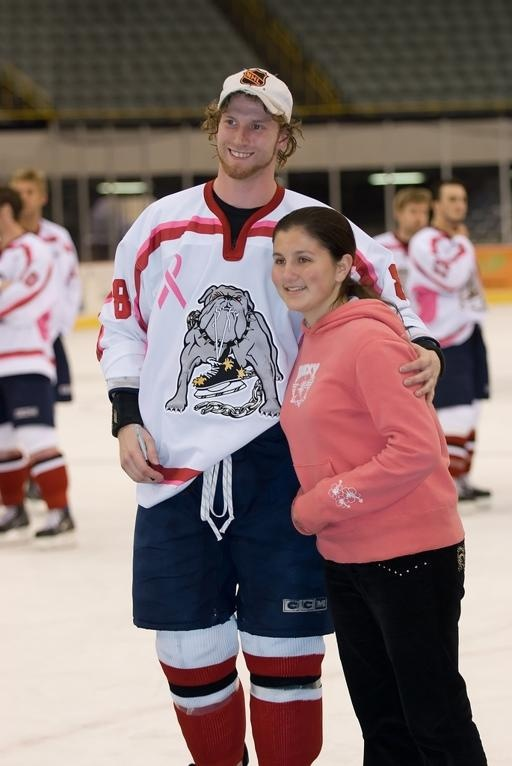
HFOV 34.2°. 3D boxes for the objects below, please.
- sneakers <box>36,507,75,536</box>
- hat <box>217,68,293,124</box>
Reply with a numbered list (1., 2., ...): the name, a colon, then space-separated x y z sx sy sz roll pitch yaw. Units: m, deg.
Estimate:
1. sneakers: -0.934 0.643 3.842 0.181 0.133 0.170 -3 5 -12
2. hat: -0.001 -0.540 1.545 0.143 0.085 0.174 13 12 2
